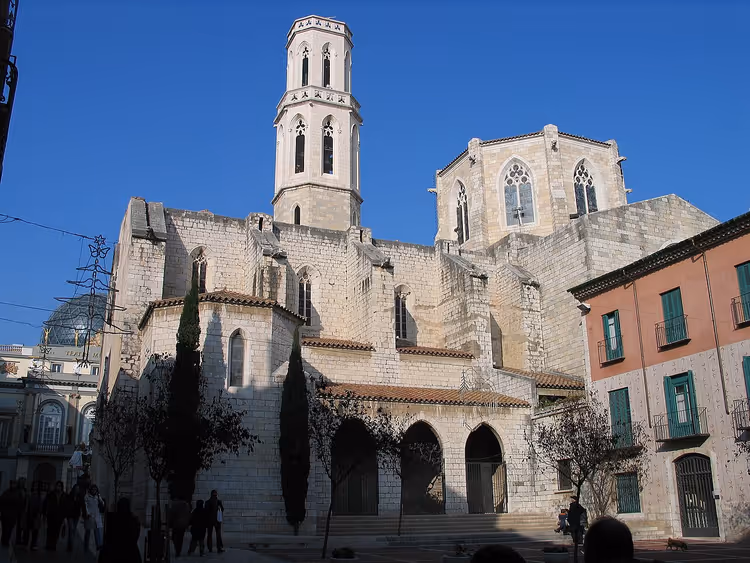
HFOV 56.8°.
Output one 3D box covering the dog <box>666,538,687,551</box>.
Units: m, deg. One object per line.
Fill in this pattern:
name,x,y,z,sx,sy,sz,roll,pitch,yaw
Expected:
dog,9.674,8.422,22.306,0.581,0.335,0.661,-8,-22,20
